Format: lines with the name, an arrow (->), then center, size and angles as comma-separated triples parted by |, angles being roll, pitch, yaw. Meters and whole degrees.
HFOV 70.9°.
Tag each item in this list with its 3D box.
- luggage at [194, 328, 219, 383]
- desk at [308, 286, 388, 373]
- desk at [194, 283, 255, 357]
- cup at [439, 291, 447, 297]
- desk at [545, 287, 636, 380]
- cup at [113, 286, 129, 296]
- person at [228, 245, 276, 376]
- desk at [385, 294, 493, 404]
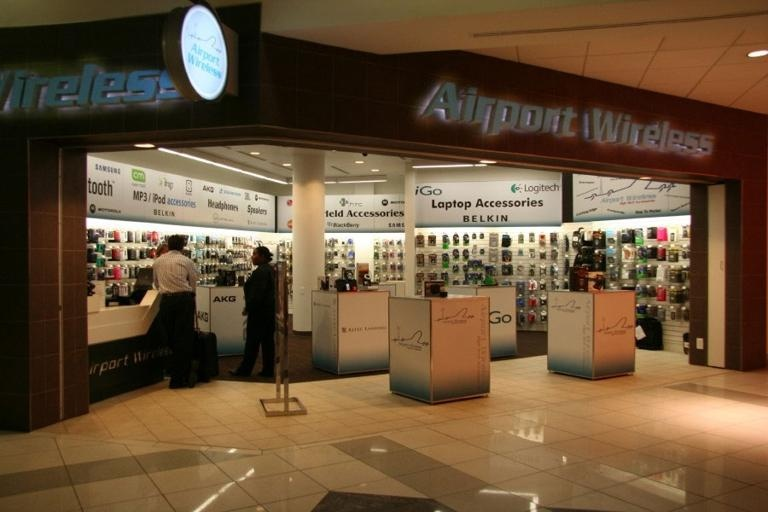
luggage -> -2.871, 1.587, 8.728 | 0.363, 0.879, 0.189 | -5, 8, -39
desk -> -0.572, 1.316, 9.887 | 1.560, 1.193, 1.457 | 2, -4, -13
desk -> -2.842, 1.213, 10.819 | 1.054, 1.349, 0.955 | -2, -2, 5
cup -> 0.876, 0.516, 8.006 | 0.090, 0.054, 0.086 | -3, 2, 0
desk -> 3.608, 1.316, 9.753 | 1.597, 1.917, 1.549 | 2, -3, -36
cup -> -5.490, 0.623, 11.293 | 0.160, 0.219, 0.415 | 1, 6, 9
person -> -2.115, 0.890, 9.011 | 0.710, 2.237, 0.494 | 1, 6, 5
desk -> 0.736, 1.312, 8.315 | 2.027, 1.900, 1.459 | 5, -5, -15
